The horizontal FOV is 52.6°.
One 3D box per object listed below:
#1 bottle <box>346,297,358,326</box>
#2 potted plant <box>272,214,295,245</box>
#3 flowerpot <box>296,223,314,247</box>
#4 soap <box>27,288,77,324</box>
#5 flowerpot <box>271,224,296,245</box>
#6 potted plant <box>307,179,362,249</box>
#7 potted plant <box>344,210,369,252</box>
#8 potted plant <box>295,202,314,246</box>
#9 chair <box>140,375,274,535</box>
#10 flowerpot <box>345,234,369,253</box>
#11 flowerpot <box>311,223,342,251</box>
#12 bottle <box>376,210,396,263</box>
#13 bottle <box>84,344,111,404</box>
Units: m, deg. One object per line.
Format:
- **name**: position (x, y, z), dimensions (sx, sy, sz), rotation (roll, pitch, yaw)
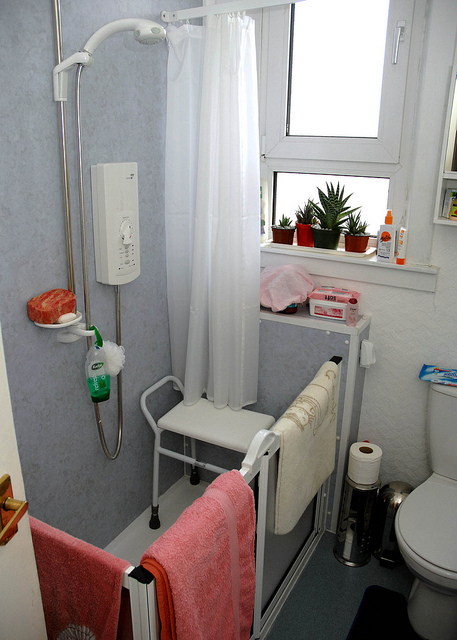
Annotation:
- **bottle**: position (0.460, -0.032, 1.718), dimensions (0.042, 0.092, 0.074), rotation (6, 20, 17)
- **potted plant**: position (0.238, -0.386, 2.010), dimensions (0.094, 0.114, 0.111), rotation (2, 20, 6)
- **flowerpot**: position (0.321, -0.357, 1.961), dimensions (0.071, 0.098, 0.083), rotation (-3, 17, -4)
- **soap**: position (-0.475, -0.035, 1.238), dimensions (0.091, 0.063, 0.128), rotation (11, 24, 26)
- **flowerpot**: position (0.238, -0.368, 1.996), dimensions (0.060, 0.062, 0.070), rotation (-3, 20, -14)
- **potted plant**: position (0.397, -0.436, 1.884), dimensions (0.171, 0.263, 0.202), rotation (-6, 22, -20)
- **potted plant**: position (0.518, -0.340, 1.855), dimensions (0.088, 0.161, 0.096), rotation (0, -2, -22)
- **potted plant**: position (0.320, -0.402, 1.980), dimensions (0.067, 0.152, 0.073), rotation (1, 12, -32)
- **chair**: position (-0.086, 0.547, 1.888), dimensions (0.518, 0.600, 0.420), rotation (7, 20, 20)
- **flowerpot**: position (0.505, -0.299, 1.824), dimensions (0.065, 0.066, 0.074), rotation (9, 19, 31)
- **flowerpot**: position (0.399, -0.327, 1.881), dimensions (0.082, 0.080, 0.099), rotation (-2, 30, -4)
- **bottle**: position (0.605, -0.324, 1.765), dimensions (0.063, 0.188, 0.124), rotation (4, 19, 14)
- **bottle**: position (-0.401, 0.149, 1.410), dimensions (0.072, 0.224, 0.051), rotation (-7, 26, -20)
